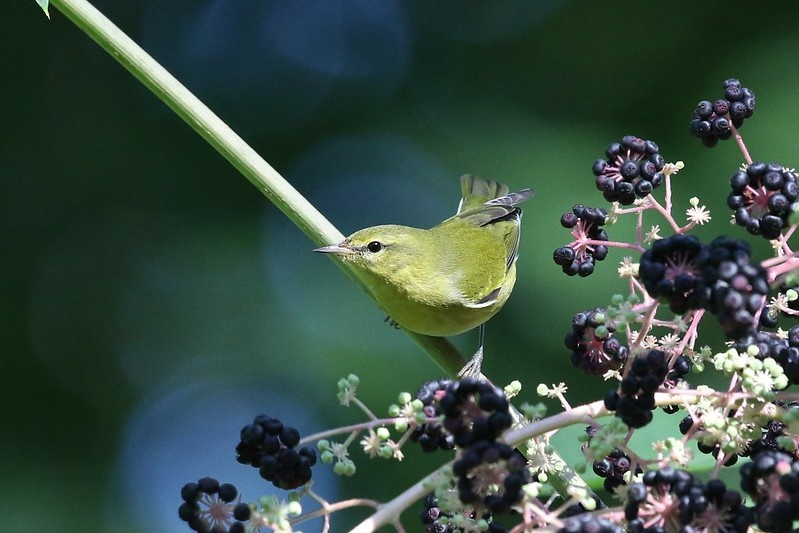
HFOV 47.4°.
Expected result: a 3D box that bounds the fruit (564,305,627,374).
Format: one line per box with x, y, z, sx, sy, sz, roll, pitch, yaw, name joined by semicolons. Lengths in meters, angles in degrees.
0.892;0.365;4.186;0.122;0.281;0.291;-24;13;-40;fruit
